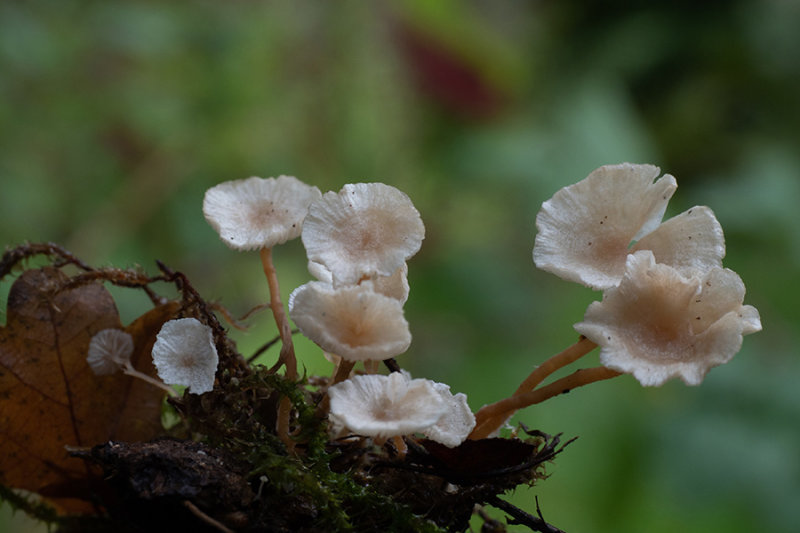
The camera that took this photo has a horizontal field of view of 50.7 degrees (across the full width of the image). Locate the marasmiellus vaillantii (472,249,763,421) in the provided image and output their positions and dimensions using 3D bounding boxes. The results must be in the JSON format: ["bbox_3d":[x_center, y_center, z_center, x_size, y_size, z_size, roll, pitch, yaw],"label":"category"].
[{"bbox_3d":[0.475,0.104,1.626,0.281,0.268,0.212,2,20,1],"label":"marasmiellus vaillantii"}]

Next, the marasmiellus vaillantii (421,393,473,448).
[{"bbox_3d":[0.092,0.287,1.553,0.087,0.086,0.026,42,-28,-20],"label":"marasmiellus vaillantii"}]

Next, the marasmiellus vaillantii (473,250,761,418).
[{"bbox_3d":[0.466,0.097,1.517,0.305,0.216,0.124,14,17,8],"label":"marasmiellus vaillantii"}]

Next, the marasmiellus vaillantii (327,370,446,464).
[{"bbox_3d":[-0.035,0.268,1.514,0.200,0.085,0.202,-8,22,-42],"label":"marasmiellus vaillantii"}]

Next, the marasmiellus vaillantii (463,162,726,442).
[{"bbox_3d":[0.394,0.015,1.669,0.375,0.541,0.286,2,10,2],"label":"marasmiellus vaillantii"}]
